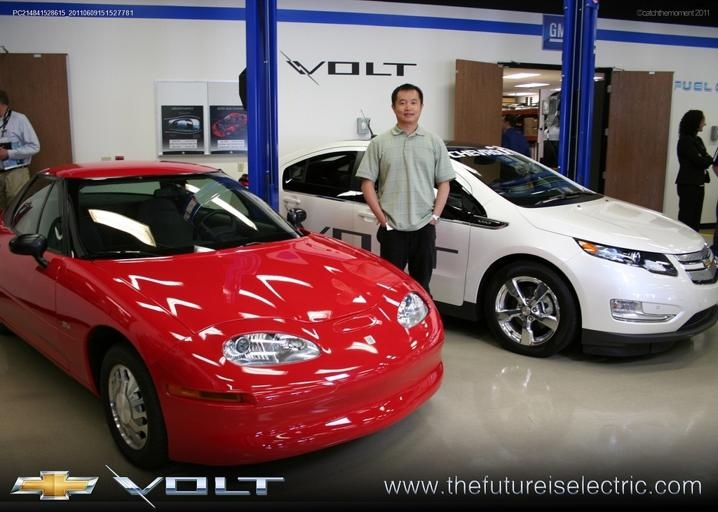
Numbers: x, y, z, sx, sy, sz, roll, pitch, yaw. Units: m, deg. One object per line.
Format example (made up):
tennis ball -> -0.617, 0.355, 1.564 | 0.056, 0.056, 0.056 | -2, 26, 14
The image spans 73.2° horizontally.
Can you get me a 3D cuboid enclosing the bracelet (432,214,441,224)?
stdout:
bracelet -> 0.595, -0.276, 3.705 | 0.054, 0.037, 0.073 | 4, 41, 3
